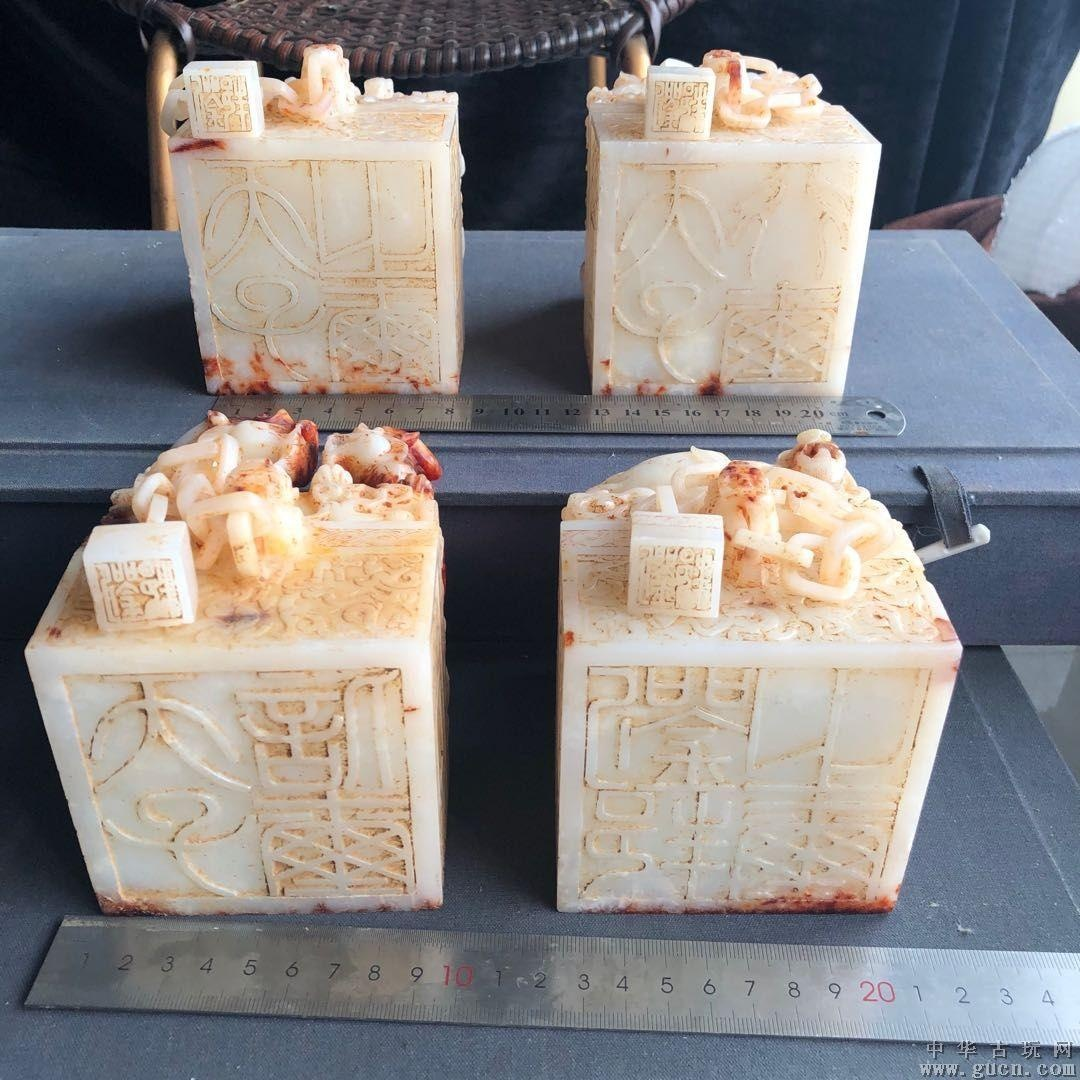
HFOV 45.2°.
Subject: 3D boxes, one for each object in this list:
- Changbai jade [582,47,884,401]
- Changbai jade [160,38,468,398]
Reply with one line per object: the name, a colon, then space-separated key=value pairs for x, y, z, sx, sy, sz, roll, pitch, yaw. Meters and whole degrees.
Changbai jade: x=0.297 y=-0.515 z=2.108 sx=0.447 sy=0.536 sz=0.338 roll=2 pitch=43 yaw=0
Changbai jade: x=-0.357 y=-0.511 z=2.093 sx=0.458 sy=0.549 sz=0.307 roll=-2 pitch=44 yaw=-4
